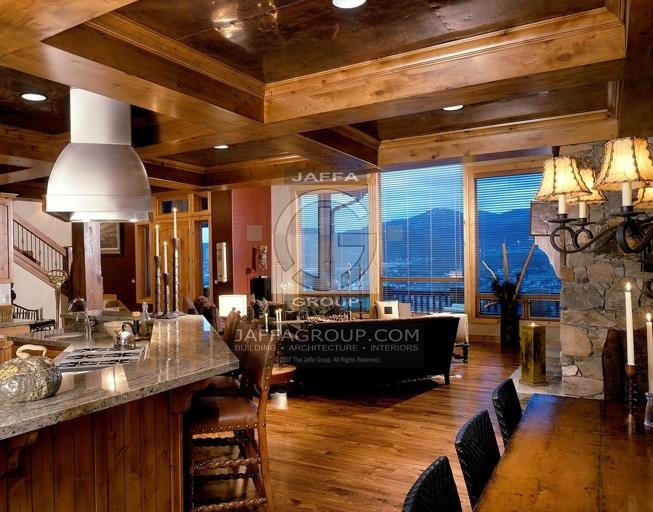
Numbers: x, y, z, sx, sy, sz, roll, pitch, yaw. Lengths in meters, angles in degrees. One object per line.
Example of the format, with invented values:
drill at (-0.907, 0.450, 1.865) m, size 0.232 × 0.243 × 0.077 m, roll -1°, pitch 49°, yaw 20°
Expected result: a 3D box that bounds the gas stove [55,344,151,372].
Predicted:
gas stove at (-1.580, 0.682, 3.509) m, size 0.595 × 0.044 × 0.868 m, roll -1°, pitch 2°, yaw -19°
